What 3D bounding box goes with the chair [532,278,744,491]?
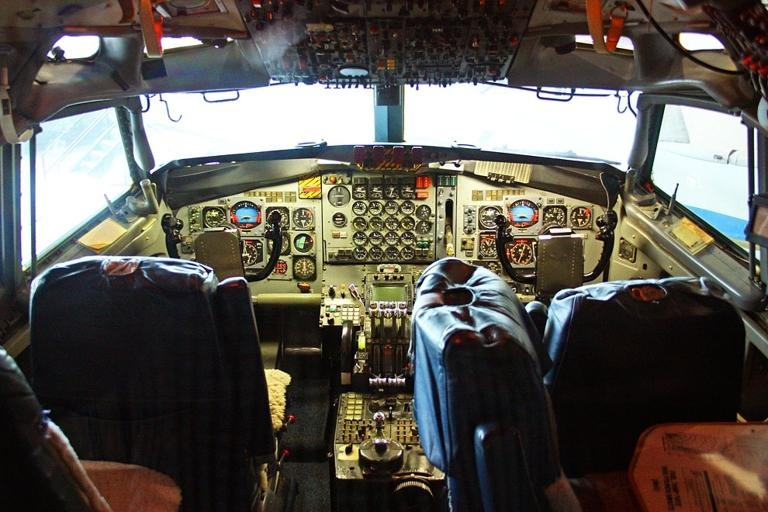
[{"bbox_3d":[1.226,0.512,3.108,0.860,0.917,0.884,0,16,10],"label":"chair"}]
